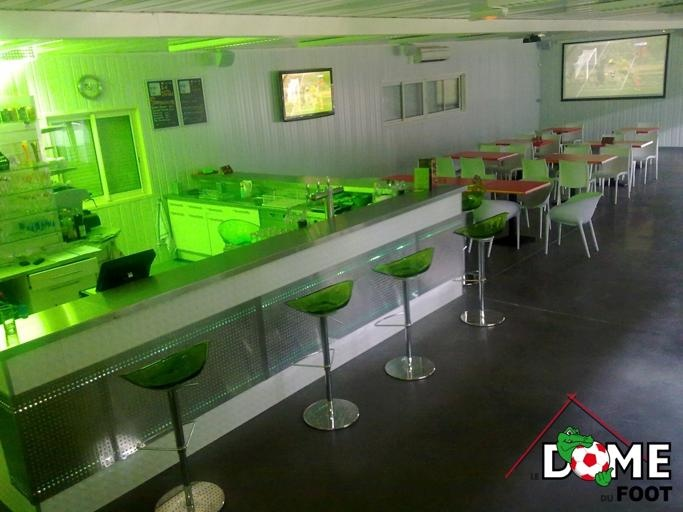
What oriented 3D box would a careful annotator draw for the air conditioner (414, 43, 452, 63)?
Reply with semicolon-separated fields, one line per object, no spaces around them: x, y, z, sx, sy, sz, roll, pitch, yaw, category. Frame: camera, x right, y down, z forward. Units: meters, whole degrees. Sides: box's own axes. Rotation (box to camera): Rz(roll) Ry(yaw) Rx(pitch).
1.784;-4.107;10.579;0.547;0.331;1.866;2;18;22;air conditioner

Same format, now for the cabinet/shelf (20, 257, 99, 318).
-2.935;0.291;5.503;0.528;0.436;0.728;11;22;36;cabinet/shelf

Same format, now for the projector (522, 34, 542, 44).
4.384;-5.060;12.083;0.323;0.197;0.934;3;18;22;projector

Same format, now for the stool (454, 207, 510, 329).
1.535;-0.017;5.715;0.454;1.090;1.456;0;18;15;stool

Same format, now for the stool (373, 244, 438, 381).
0.607;0.441;4.618;0.460;1.120;0.685;2;20;21;stool

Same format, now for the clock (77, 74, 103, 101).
-3.138;-2.115;6.560;0.096;0.272;0.284;10;37;46;clock

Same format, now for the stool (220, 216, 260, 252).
-1.089;-0.241;5.544;0.374;0.245;0.384;-2;6;-1;stool

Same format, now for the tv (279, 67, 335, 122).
-0.615;-2.710;8.736;0.113;0.668;1.077;11;22;41;tv
